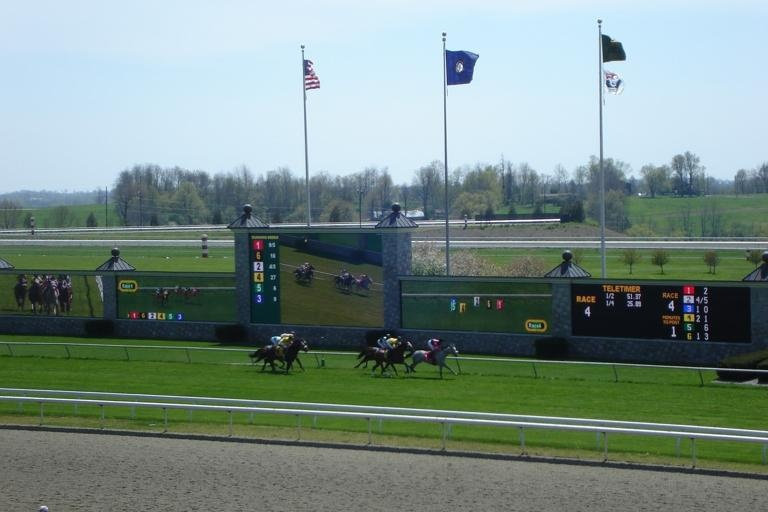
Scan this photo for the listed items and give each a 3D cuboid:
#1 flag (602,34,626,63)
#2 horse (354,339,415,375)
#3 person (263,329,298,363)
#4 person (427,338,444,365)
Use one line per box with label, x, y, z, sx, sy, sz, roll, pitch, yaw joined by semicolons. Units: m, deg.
flag;11.141;-10.203;73.931;1.057;1.332;1.645;0;-1;7
horse;0.001;4.328;64.530;2.392;1.437;1.590;-1;-1;38
person;-4.162;3.759;64.618;1.784;0.926;0.575;-23;-8;14
person;2.168;3.942;64.218;0.883;1.438;0.315;3;0;6
